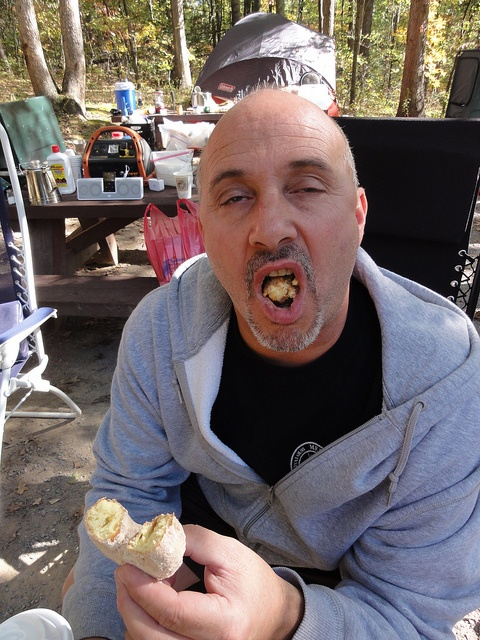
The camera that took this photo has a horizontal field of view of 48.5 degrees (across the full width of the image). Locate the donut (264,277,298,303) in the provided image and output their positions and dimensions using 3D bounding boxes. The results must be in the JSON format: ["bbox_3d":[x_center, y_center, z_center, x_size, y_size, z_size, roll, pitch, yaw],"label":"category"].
[{"bbox_3d":[0.124,-0.090,1.551,0.086,0.076,0.027,8,-10,-10],"label":"donut"}]

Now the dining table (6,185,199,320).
[{"bbox_3d":[-1.231,-0.529,4.392,1.301,0.624,1.354,-1,12,-2],"label":"dining table"}]

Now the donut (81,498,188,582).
[{"bbox_3d":[-0.247,0.500,1.243,0.263,0.153,0.113,13,30,24],"label":"donut"}]
